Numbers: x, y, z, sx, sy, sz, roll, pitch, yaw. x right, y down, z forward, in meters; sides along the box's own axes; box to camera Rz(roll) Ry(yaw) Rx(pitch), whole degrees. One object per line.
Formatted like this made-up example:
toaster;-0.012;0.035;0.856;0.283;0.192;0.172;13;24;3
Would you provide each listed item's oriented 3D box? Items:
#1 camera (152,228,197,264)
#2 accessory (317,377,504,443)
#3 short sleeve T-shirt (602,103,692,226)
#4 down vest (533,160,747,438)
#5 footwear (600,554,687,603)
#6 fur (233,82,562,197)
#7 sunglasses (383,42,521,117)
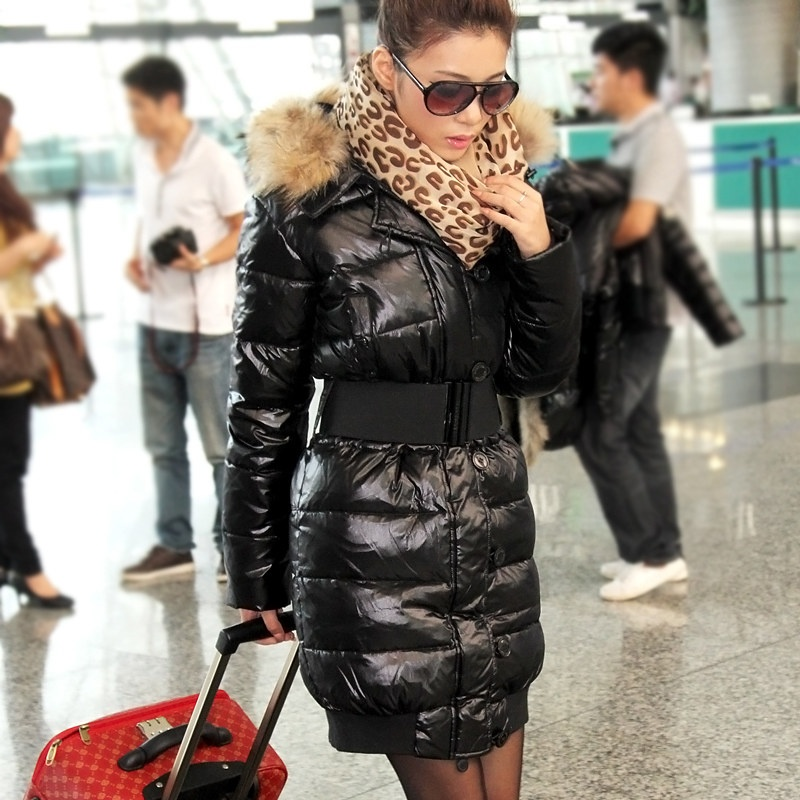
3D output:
camera;-0.875;-0.581;3.515;0.157;0.134;0.148;-25;17;-18
accessory;0.015;0.016;1.349;0.273;0.100;0.136;-2;8;3
short sleeve T-shirt;0.952;-0.891;3.834;0.411;0.575;0.664;-1;7;3
down vest;0.945;-0.493;3.676;1.188;1.045;0.485;-19;29;-23
footwear;0.948;0.693;3.523;0.320;0.104;0.163;-6;-1;-16
fur;-0.022;-0.401;1.386;0.342;0.116;0.263;-7;-4;-8
sunglasses;0.094;-0.422;1.249;0.129;0.035;0.119;-7;39;-30
